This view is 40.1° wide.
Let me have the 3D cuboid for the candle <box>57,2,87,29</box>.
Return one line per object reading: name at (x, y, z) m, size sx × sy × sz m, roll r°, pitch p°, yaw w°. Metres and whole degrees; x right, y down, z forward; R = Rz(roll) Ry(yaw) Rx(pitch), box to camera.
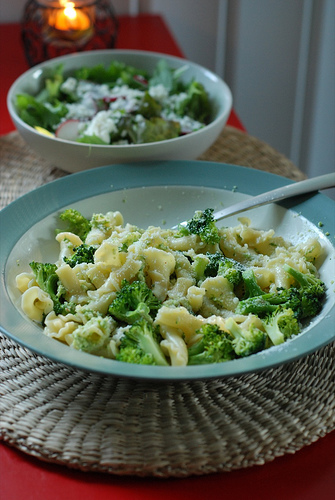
candle at (-0.405, -0.980, 1.917) m, size 0.129 × 0.104 × 0.029 m, roll 1°, pitch 16°, yaw -14°
